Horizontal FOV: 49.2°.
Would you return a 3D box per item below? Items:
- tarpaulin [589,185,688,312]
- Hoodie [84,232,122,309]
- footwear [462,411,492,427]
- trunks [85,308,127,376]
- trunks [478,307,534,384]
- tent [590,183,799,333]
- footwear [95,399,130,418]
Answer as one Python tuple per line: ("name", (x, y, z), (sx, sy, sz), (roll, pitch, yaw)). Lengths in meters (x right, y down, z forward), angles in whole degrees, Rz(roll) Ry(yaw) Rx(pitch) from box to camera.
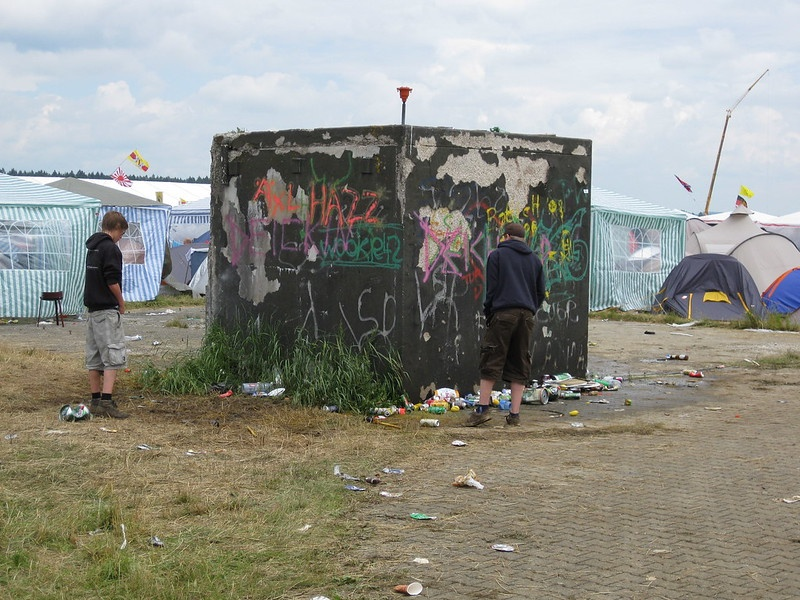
("tarpaulin", (6.610, -1.163, 24.832), (3.193, 3.126, 2.997), (1, 6, -42))
("Hoodie", (-3.151, -0.283, 9.224), (0.472, 0.846, 0.320), (4, 8, 16))
("footwear", (0.811, 1.260, 9.329), (0.287, 0.151, 0.128), (-6, 8, 9))
("trunks", (-3.129, 0.442, 9.236), (0.439, 0.687, 0.305), (1, 7, -6))
("trunks", (1.148, 0.502, 9.436), (0.572, 0.836, 0.340), (2, 7, 2))
("tent", (7.703, -0.761, 23.636), (3.596, 2.023, 3.719), (6, 6, 41))
("footwear", (-3.002, 1.162, 9.267), (0.402, 0.204, 0.150), (1, 0, -5))
